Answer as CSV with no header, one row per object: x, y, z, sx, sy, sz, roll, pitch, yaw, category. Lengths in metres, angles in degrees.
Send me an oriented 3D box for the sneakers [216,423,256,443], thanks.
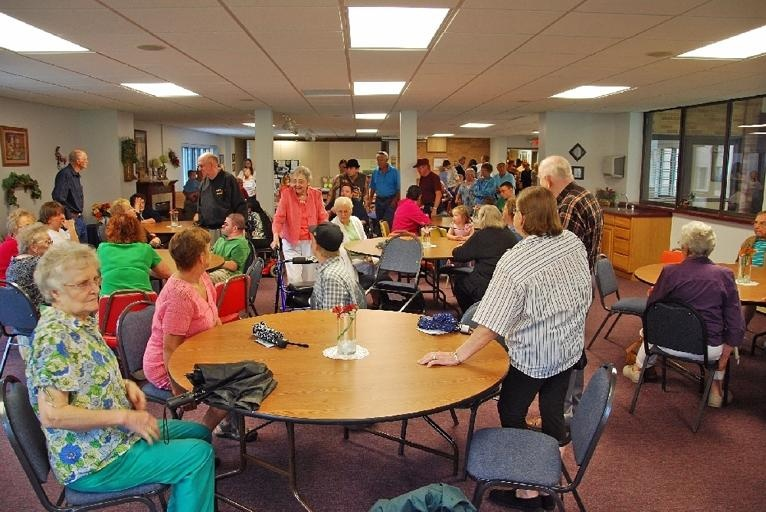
-1.173,1.382,4.277,0.251,0.093,0.167,10,-5,-1,sneakers

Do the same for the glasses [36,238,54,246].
-3.206,-0.135,5.100,0.154,0.044,0.152,-1,6,-2,glasses

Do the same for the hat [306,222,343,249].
-0.434,-0.158,4.192,0.173,0.138,0.224,-6,54,-26,hat

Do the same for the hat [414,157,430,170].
0.681,-1.748,10.207,0.338,0.161,0.241,7,16,8,hat

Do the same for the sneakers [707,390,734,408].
3.036,1.269,4.870,0.279,0.107,0.100,-11,10,-37,sneakers

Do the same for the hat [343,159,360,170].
-0.586,-1.715,10.193,0.375,0.144,0.420,0,4,-8,hat

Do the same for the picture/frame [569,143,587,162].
3.974,-2.154,11.088,0.444,0.429,0.046,-1,9,-10,picture/frame
